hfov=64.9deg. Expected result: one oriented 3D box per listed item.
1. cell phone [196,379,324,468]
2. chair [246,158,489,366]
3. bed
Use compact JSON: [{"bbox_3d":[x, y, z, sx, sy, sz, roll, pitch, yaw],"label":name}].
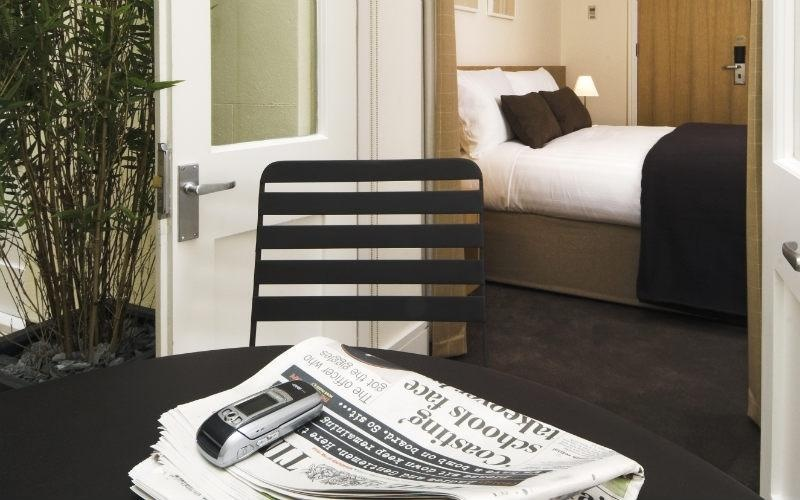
[{"bbox_3d":[-0.250,0.300,1.130,0.197,0.061,0.106,-25,37,-30],"label":"cell phone"},{"bbox_3d":[-0.129,0.041,2.251,0.695,0.739,0.970,-2,10,-7],"label":"chair"},{"bbox_3d":[1.320,-0.216,3.888,1.487,0.956,0.785,4,11,30],"label":"bed"}]
